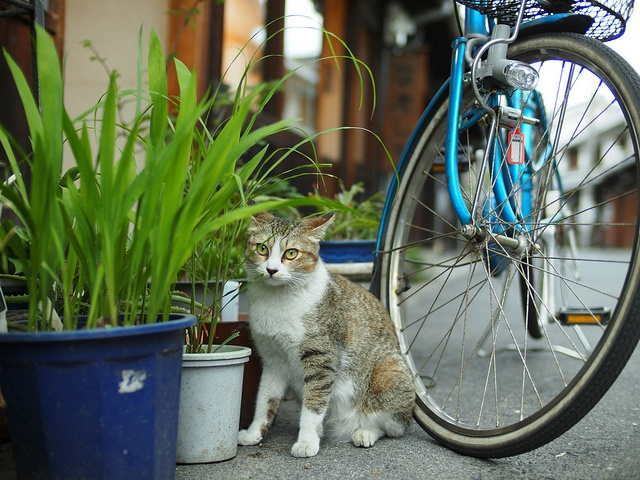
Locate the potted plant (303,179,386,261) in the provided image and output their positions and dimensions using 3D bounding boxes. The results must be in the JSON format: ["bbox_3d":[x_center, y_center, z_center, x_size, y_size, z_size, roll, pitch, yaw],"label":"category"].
[{"bbox_3d":[0.166,-0.106,3.645,0.364,0.342,0.415,3,-5,-13],"label":"potted plant"}]

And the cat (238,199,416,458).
[{"bbox_3d":[-0.110,0.409,2.834,0.770,1.158,0.567,5,-10,-27],"label":"cat"}]
